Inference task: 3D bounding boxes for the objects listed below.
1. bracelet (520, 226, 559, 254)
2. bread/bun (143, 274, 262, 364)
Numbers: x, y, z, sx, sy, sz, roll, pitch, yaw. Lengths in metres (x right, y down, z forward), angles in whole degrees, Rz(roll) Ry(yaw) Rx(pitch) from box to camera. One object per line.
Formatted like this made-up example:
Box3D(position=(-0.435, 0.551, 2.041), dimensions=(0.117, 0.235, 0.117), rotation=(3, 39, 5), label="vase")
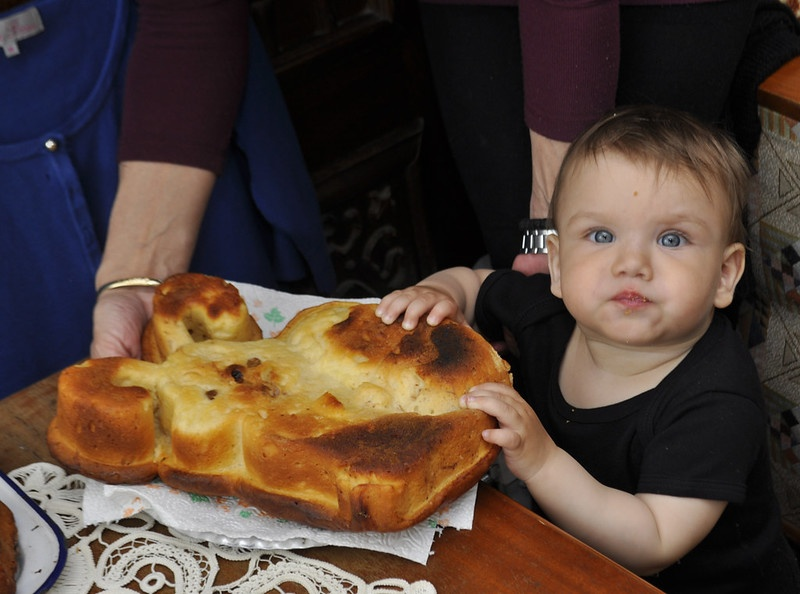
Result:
Box3D(position=(0.231, -0.093, 1.216), dimensions=(0.046, 0.036, 0.044), rotation=(9, -5, -36), label="bracelet")
Box3D(position=(-0.264, 0.022, 0.933), dimensions=(0.122, 0.072, 0.122), rotation=(-27, 70, -28), label="bread/bun")
